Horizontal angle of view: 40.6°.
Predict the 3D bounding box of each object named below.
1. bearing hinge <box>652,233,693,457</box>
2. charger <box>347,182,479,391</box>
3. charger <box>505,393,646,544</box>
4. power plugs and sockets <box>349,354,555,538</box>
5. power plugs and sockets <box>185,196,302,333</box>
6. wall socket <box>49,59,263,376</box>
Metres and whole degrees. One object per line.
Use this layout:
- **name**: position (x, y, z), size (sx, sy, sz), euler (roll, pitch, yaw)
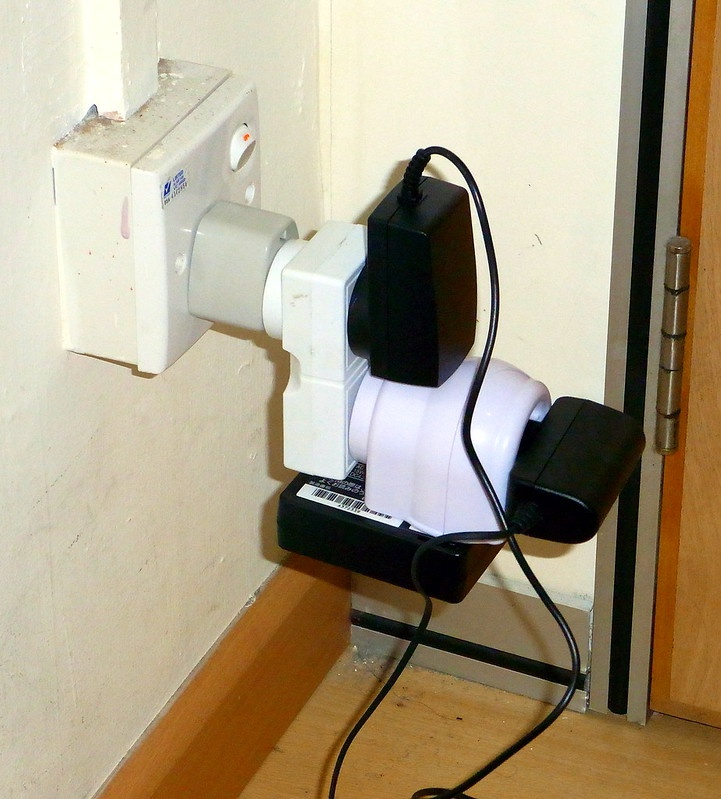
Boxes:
- **bearing hinge**: position (0.254, -0.039, 0.795), size (0.024, 0.190, 0.054), euler (8, 18, 21)
- **charger**: position (0.026, -0.062, 0.521), size (0.060, 0.104, 0.076), euler (8, 20, 19)
- **charger**: position (0.122, 0.044, 0.558), size (0.065, 0.046, 0.090), euler (12, 37, 22)
- **power plugs and sockets**: position (0.038, 0.011, 0.578), size (0.089, 0.082, 0.103), euler (11, 35, 8)
- **power plugs and sockets**: position (-0.076, -0.074, 0.604), size (0.070, 0.078, 0.060), euler (12, 15, 12)
- **wall socket**: position (-0.119, -0.105, 0.546), size (0.062, 0.130, 0.124), euler (12, 30, 14)
